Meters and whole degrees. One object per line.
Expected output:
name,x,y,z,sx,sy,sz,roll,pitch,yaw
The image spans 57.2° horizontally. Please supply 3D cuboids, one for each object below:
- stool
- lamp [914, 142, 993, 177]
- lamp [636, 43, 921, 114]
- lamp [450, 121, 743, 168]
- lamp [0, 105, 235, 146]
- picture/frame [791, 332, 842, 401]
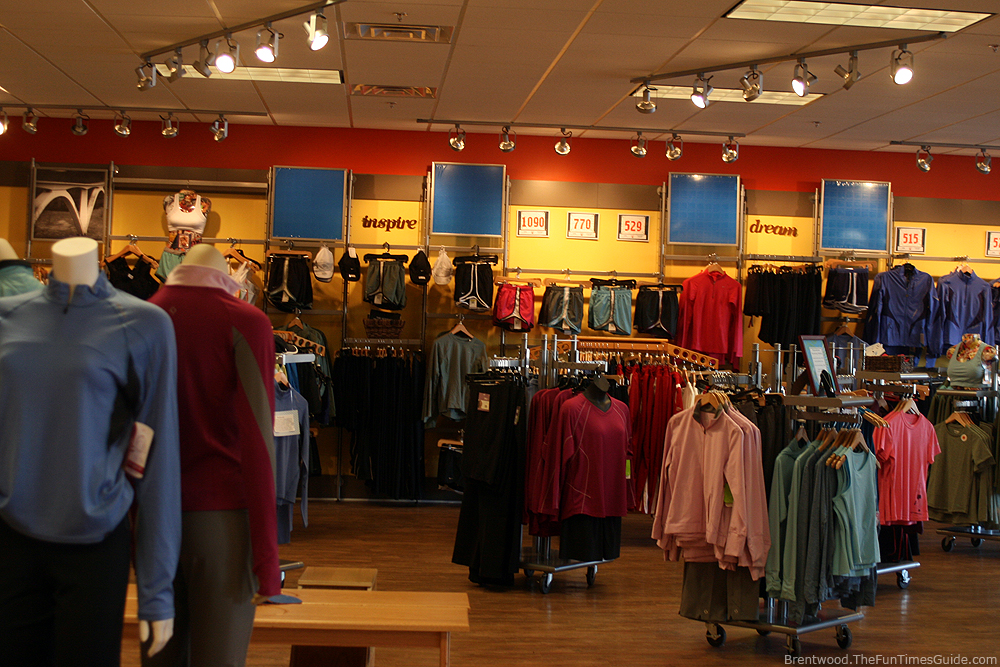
stool,-1.058,1.805,6.180,0.550,0.801,0.569,2,6,1
lamp,5.536,-2.135,11.199,1.082,0.465,0.227,-5,29,4
lamp,2.567,-2.380,8.922,2.563,0.562,1.920,2,5,9
lamp,1.210,-2.203,10.593,3.576,0.406,1.327,1,4,-4
lamp,-4.256,-2.330,10.114,2.582,0.386,1.327,1,5,-5
picture/frame,2.405,0.255,6.950,0.248,0.481,0.465,4,3,42
